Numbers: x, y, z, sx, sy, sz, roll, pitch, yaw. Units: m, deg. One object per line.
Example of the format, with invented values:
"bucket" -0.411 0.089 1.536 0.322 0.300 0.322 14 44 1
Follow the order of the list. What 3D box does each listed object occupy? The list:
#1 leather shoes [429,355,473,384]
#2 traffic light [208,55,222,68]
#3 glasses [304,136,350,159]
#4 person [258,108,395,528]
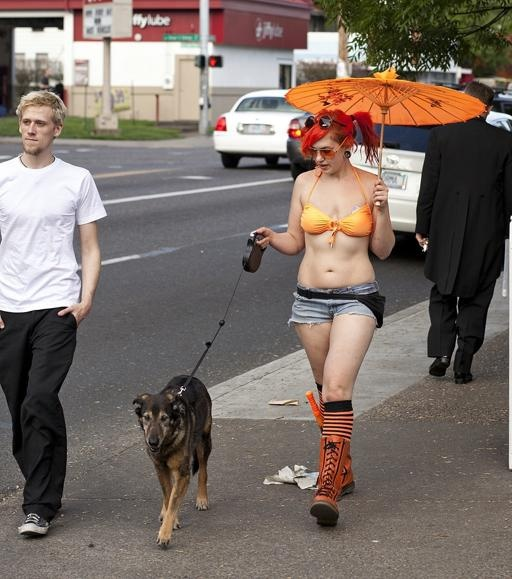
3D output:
"leather shoes" 1.356 0.534 6.260 0.320 0.202 0.254 3 10 26
"traffic light" -1.510 -8.566 33.278 0.488 0.430 0.777 -3 9 -7
"glasses" 0.307 -0.628 3.924 0.199 0.099 0.138 0 9 8
"person" 0.320 0.087 3.947 0.570 1.748 1.010 -1 10 8
